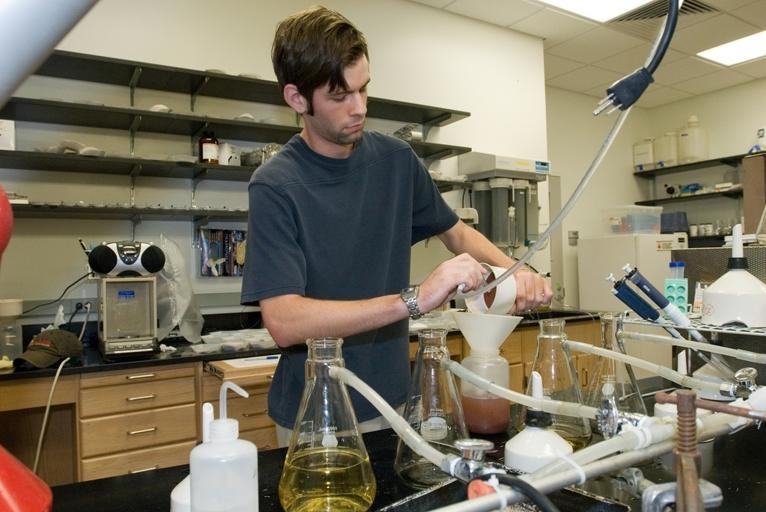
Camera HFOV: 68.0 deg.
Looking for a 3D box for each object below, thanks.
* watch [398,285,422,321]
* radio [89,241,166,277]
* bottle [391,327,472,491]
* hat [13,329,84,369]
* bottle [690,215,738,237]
[{"bbox_3d":[0.079,0.135,1.789,0.062,0.098,0.103,-16,36,0],"label":"watch"},{"bbox_3d":[-1.396,0.008,3.121,0.371,0.193,0.138,0,15,-25],"label":"radio"},{"bbox_3d":[0.121,0.400,1.543,0.194,0.392,0.187,-2,2,0],"label":"bottle"},{"bbox_3d":[-1.711,0.477,2.932,0.170,0.124,0.244,-3,-4,23],"label":"hat"},{"bbox_3d":[3.674,-0.327,6.369,0.536,0.206,0.434,0,3,42],"label":"bottle"}]
